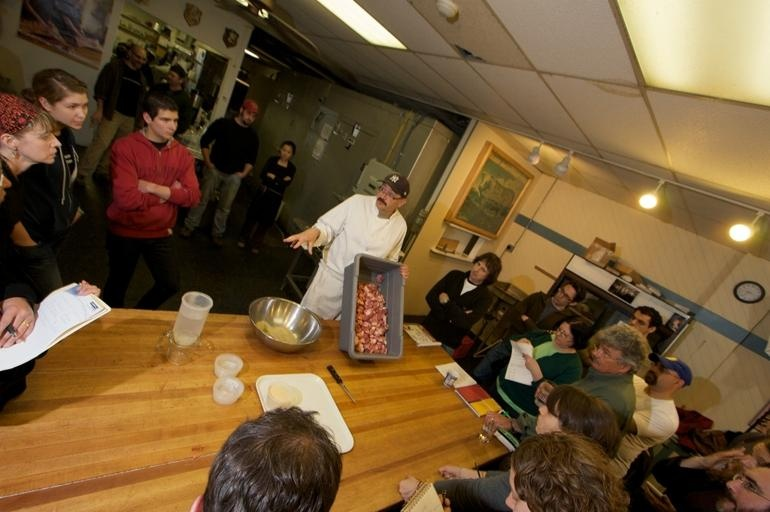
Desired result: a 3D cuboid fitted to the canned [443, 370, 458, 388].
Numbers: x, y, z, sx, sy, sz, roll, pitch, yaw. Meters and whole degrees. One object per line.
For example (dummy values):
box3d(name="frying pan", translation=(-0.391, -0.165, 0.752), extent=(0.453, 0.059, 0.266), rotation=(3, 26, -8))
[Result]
box3d(name="canned", translation=(0.583, 1.107, 3.963), extent=(0.098, 0.135, 0.098), rotation=(21, 1, -13))

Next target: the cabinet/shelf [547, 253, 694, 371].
box3d(name="cabinet/shelf", translation=(3.405, 0.915, 6.625), extent=(0.567, 1.672, 1.749), rotation=(-24, 45, -39))

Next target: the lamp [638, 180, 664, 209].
box3d(name="lamp", translation=(2.772, -0.631, 4.553), extent=(0.163, 0.294, 0.311), rotation=(33, 18, 27))

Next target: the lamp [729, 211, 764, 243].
box3d(name="lamp", translation=(3.448, -0.291, 4.204), extent=(0.178, 0.347, 0.264), rotation=(36, 19, 33))

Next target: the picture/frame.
box3d(name="picture/frame", translation=(1.558, -1.037, 6.775), extent=(0.140, 0.910, 1.302), rotation=(34, -1, 36))

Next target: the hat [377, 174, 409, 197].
box3d(name="hat", translation=(0.122, -0.649, 4.253), extent=(0.185, 0.150, 0.259), rotation=(38, 2, 38))

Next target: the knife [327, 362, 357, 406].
box3d(name="knife", translation=(-0.358, 0.969, 3.404), extent=(0.096, 0.035, 0.497), rotation=(1, 33, -38))
